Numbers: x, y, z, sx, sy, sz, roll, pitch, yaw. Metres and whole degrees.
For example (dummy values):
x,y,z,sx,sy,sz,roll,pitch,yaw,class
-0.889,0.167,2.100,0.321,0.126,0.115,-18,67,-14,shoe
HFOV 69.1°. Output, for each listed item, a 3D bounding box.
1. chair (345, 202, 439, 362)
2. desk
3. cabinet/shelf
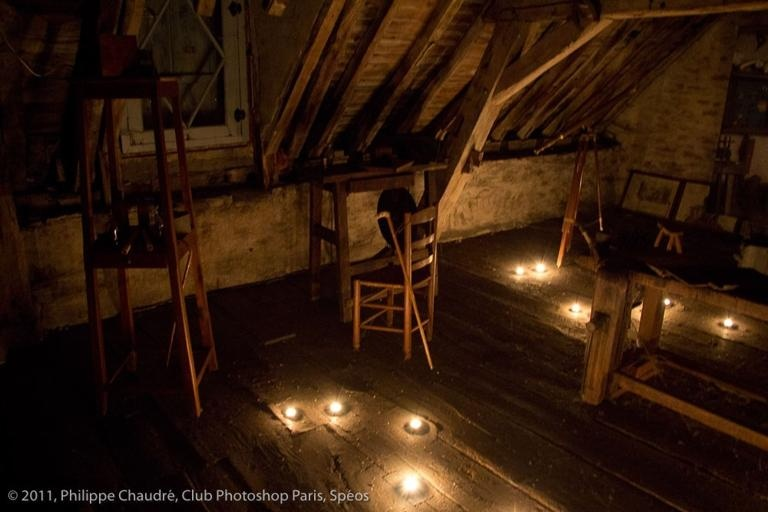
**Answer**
x,y,z,sx,sy,sz,roll,pitch,yaw,class
0.108,0.221,5.498,0.869,1.393,0.832,-8,13,-31,chair
-0.092,-0.440,6.572,1.874,1.921,1.126,-8,16,-31,desk
-1.953,-0.096,4.483,0.874,2.656,0.950,2,21,-4,cabinet/shelf
